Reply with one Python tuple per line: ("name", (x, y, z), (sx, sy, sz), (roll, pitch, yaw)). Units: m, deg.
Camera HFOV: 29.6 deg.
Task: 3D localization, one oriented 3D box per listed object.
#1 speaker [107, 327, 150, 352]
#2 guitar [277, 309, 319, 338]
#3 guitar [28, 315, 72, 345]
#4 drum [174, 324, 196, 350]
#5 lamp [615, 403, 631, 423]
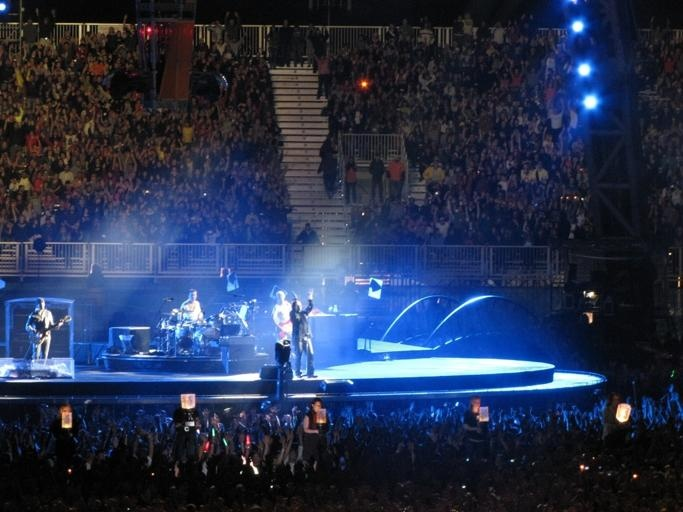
("speaker", (-5.660, 2.292, 34.971), (0.750, 0.752, 0.501), (0, 91, -45))
("guitar", (-1.199, 1.783, 33.801), (0.818, 0.508, 1.265), (1, 91, 19))
("guitar", (-7.485, 1.796, 32.782), (1.149, 0.169, 0.628), (-30, 114, -29))
("drum", (-4.188, 2.165, 34.148), (0.559, 1.079, 0.630), (8, 90, -10))
("lamp", (6.198, 3.464, 28.299), (0.292, 0.158, 0.444), (8, 102, 16))
